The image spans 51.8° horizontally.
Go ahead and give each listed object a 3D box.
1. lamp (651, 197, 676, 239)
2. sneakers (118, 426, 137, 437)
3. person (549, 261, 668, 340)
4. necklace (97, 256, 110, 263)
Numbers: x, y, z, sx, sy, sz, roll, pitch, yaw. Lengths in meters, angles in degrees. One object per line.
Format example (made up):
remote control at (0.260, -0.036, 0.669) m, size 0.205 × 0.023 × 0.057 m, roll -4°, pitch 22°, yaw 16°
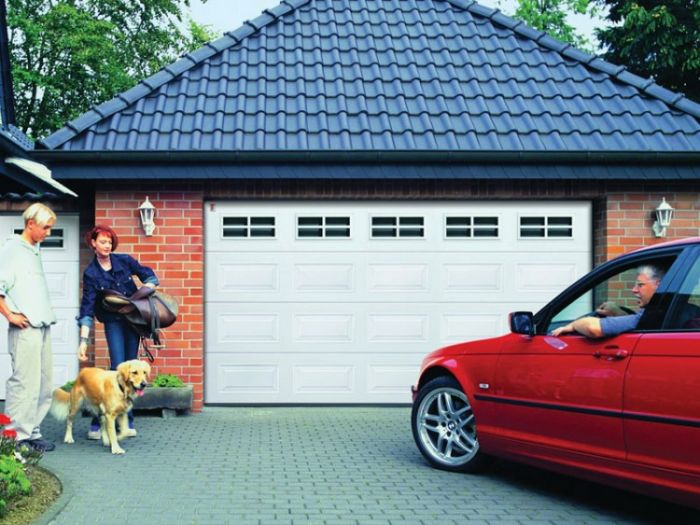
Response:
lamp at (4.635, -0.668, 10.647) m, size 0.313 × 0.574 × 0.183 m, roll 0°, pitch 2°, yaw -19°
sneakers at (-2.729, 2.070, 8.910) m, size 0.340 × 0.125 × 0.117 m, roll -1°, pitch -2°, yaw 20°
person at (2.375, 0.343, 6.775) m, size 0.868 × 0.705 × 1.034 m, roll 0°, pitch 3°, yaw -8°
necklace at (-3.036, -0.046, 8.884) m, size 0.093 × 0.082 × 0.111 m, roll 3°, pitch -9°, yaw -19°
